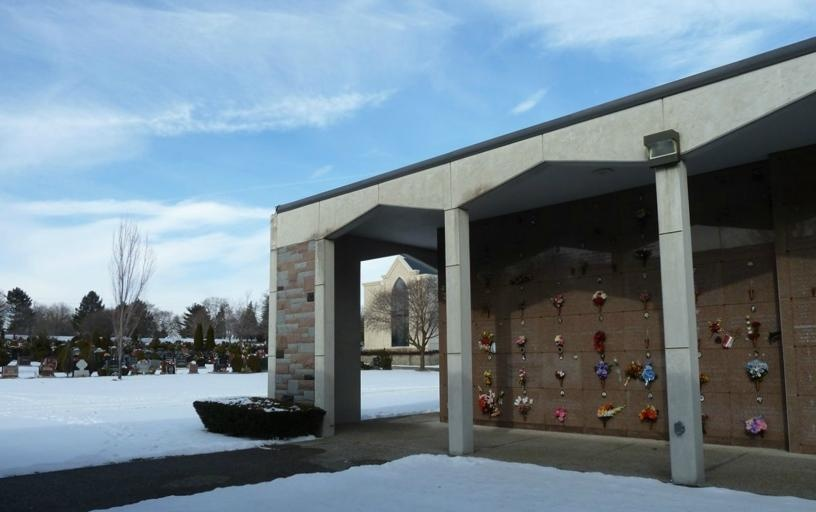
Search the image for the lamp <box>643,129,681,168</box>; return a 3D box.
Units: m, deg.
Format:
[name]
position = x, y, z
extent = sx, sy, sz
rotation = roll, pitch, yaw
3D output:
[lamp]
position = 5.703, -2.390, 14.362
extent = 0.905, 1.028, 0.554
rotation = -2, -1, 35
